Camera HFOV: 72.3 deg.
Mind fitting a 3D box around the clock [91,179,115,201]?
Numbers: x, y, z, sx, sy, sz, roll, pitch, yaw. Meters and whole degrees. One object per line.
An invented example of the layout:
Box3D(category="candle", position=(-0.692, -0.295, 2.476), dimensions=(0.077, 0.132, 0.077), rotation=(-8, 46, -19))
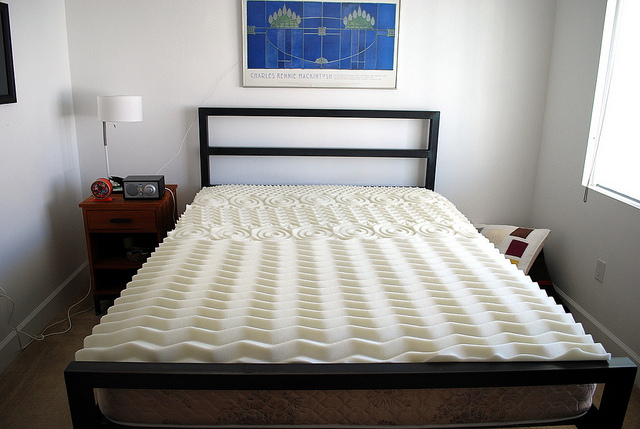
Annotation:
Box3D(category="clock", position=(-1.689, -0.200, 3.474), dimensions=(0.190, 0.216, 0.153), rotation=(0, 8, -15))

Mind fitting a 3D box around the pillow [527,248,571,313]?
Box3D(category="pillow", position=(1.740, 0.528, 3.540), dimensions=(0.217, 0.412, 0.417), rotation=(6, 17, 16))
